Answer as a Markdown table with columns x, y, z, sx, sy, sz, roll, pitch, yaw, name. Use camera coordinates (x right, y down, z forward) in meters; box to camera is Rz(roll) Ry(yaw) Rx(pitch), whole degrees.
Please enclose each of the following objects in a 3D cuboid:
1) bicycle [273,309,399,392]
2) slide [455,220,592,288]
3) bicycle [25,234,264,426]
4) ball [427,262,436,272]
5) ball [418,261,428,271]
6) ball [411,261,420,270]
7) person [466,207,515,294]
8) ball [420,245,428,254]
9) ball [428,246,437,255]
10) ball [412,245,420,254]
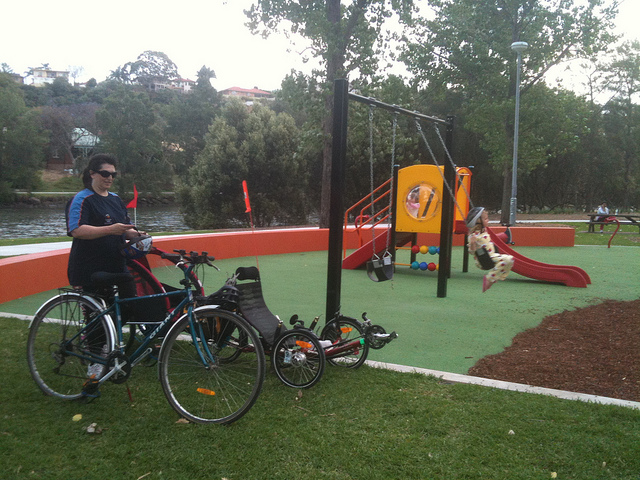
| x | y | z | sx | sy | sz | roll | pitch | yaw | name |
| --- | --- | --- | --- | --- | --- | --- | --- | --- | --- |
| 0.165 | 1.133 | 5.349 | 1.171 | 0.489 | 0.776 | -1 | 1 | 25 | bicycle |
| 4.583 | 0.421 | 10.706 | 1.877 | 0.934 | 0.626 | 5 | 10 | 24 | slide |
| -1.638 | 0.719 | 5.247 | 2.554 | 1.577 | 1.296 | 3 | 9 | 15 | bicycle |
| 2.359 | 0.571 | 10.833 | 0.146 | 0.161 | 0.138 | 1 | 2 | 0 | ball |
| 2.223 | 0.548 | 11.003 | 0.191 | 0.213 | 0.189 | -6 | 1 | 0 | ball |
| 2.018 | 0.540 | 10.984 | 0.152 | 0.172 | 0.148 | 10 | 31 | -6 | ball |
| 2.115 | 0.138 | 6.482 | 0.588 | 1.102 | 0.375 | 4 | 10 | 18 | person |
| 2.258 | 0.220 | 11.249 | 0.173 | 0.195 | 0.171 | 3 | 9 | -1 | ball |
| 2.385 | 0.214 | 10.816 | 0.144 | 0.165 | 0.144 | -10 | 42 | 9 | ball |
| 2.101 | 0.198 | 11.360 | 0.187 | 0.141 | 0.144 | -1 | -16 | 2 | ball |
